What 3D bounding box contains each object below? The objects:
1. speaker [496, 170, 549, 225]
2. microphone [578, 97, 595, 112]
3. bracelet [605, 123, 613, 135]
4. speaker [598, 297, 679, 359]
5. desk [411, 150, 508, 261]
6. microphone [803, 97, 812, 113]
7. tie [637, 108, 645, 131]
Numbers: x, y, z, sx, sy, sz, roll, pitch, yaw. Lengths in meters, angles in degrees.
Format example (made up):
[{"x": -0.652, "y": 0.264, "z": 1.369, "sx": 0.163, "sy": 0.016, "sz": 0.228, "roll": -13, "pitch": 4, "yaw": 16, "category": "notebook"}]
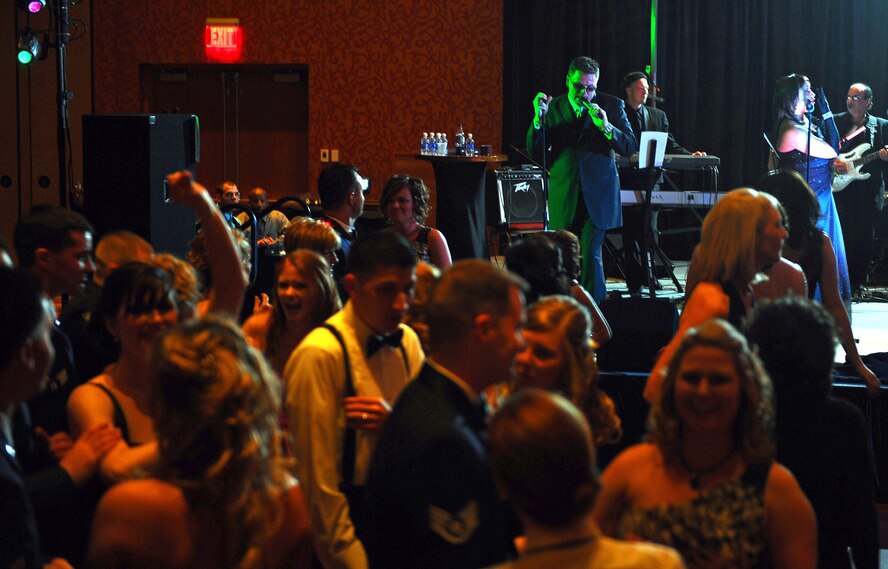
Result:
[{"x": 0.782, "y": -0.869, "z": 9.536, "sx": 0.496, "sy": 0.736, "sz": 0.535, "roll": 0, "pitch": -1, "yaw": -6, "category": "speaker"}, {"x": 1.315, "y": -1.674, "z": 8.561, "sx": 0.112, "sy": 0.139, "sz": 0.040, "roll": 4, "pitch": -7, "yaw": -12, "category": "microphone"}, {"x": 1.527, "y": -1.433, "z": 8.510, "sx": 0.075, "sy": 0.107, "sz": 0.118, "roll": 0, "pitch": 2, "yaw": 32, "category": "bracelet"}, {"x": 1.269, "y": 0.221, "z": 6.005, "sx": 0.377, "sy": 0.468, "sz": 0.426, "roll": 6, "pitch": 13, "yaw": 31, "category": "speaker"}, {"x": 0.108, "y": -0.751, "z": 9.267, "sx": 0.891, "sy": 1.431, "sz": 0.922, "roll": -1, "pitch": -3, "yaw": -33, "category": "desk"}, {"x": 3.339, "y": -1.638, "z": 8.424, "sx": 0.040, "sy": 0.123, "sz": 0.089, "roll": 2, "pitch": 6, "yaw": -2, "category": "microphone"}, {"x": 2.274, "y": -1.892, "z": 10.572, "sx": 0.045, "sy": 0.204, "sz": 0.136, "roll": -1, "pitch": 8, "yaw": -14, "category": "tie"}]
